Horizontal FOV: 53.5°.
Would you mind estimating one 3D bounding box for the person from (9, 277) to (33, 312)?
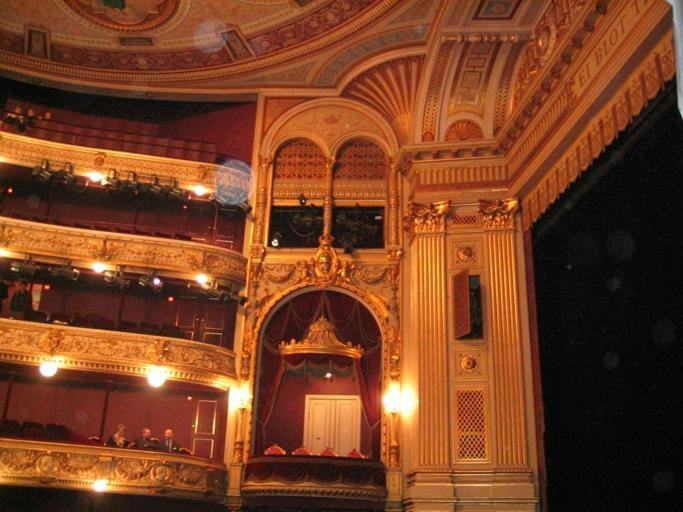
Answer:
[{"bbox_3d":[-7.543,0.941,16.027,0.443,0.917,0.510,14,-26,-23],"label":"person"}]
